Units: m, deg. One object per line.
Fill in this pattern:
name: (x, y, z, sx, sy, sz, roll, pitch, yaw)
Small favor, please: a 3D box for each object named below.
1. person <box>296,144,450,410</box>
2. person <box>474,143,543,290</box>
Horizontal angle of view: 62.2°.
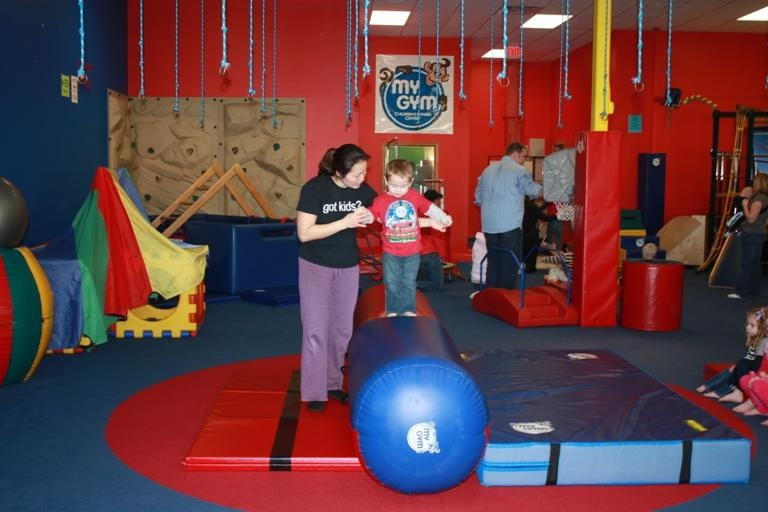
person: (-0.377, 0.153, 4.834, 0.664, 1.946, 0.445, -6, 15, -17)
person: (1.481, -0.455, 7.728, 0.739, 1.740, 0.731, 0, 14, 8)
